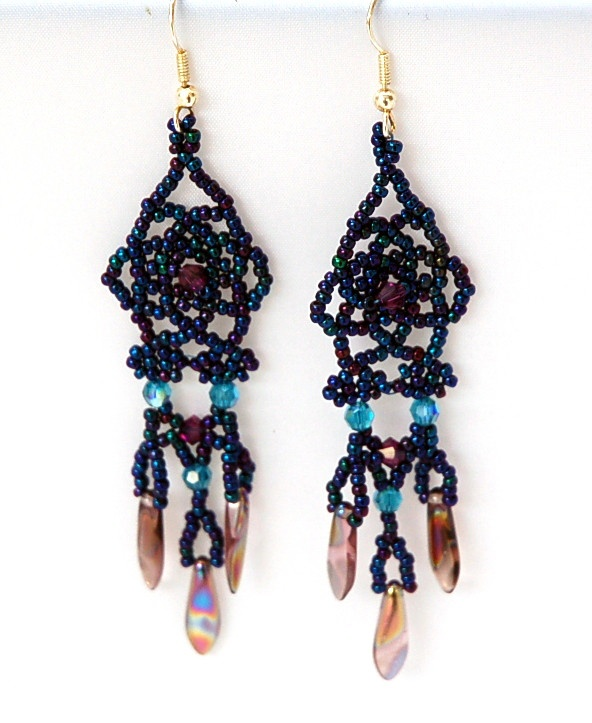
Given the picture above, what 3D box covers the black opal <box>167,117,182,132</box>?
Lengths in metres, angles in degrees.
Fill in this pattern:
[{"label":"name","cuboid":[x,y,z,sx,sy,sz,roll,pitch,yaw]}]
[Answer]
[{"label":"black opal","cuboid":[-0.159,-0.307,1.240,0.020,0.017,0.010,-4,-2,8]}]
